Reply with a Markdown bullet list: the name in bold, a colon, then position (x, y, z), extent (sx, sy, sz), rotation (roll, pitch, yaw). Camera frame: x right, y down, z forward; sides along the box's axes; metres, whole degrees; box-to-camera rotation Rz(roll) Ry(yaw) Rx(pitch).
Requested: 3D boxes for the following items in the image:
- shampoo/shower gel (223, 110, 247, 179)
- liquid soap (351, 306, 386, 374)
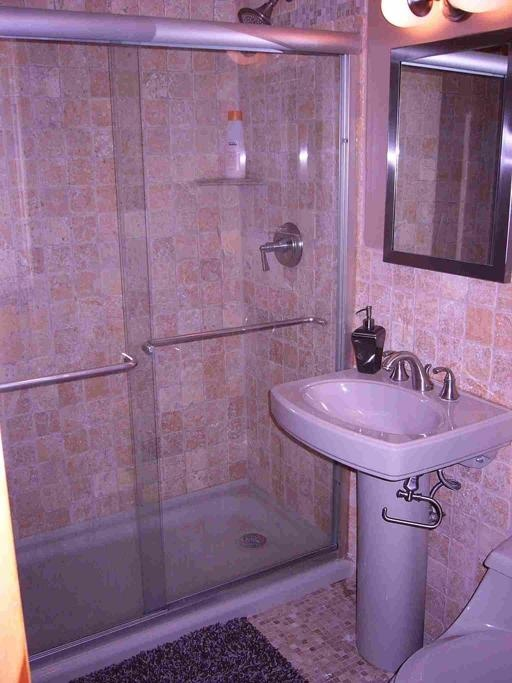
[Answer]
- **shampoo/shower gel**: position (-0.061, -0.598, 1.689), extent (0.083, 0.193, 0.030), rotation (-10, 15, -42)
- **liquid soap**: position (0.370, -0.009, 1.799), extent (0.108, 0.221, 0.118), rotation (-8, 20, -9)
